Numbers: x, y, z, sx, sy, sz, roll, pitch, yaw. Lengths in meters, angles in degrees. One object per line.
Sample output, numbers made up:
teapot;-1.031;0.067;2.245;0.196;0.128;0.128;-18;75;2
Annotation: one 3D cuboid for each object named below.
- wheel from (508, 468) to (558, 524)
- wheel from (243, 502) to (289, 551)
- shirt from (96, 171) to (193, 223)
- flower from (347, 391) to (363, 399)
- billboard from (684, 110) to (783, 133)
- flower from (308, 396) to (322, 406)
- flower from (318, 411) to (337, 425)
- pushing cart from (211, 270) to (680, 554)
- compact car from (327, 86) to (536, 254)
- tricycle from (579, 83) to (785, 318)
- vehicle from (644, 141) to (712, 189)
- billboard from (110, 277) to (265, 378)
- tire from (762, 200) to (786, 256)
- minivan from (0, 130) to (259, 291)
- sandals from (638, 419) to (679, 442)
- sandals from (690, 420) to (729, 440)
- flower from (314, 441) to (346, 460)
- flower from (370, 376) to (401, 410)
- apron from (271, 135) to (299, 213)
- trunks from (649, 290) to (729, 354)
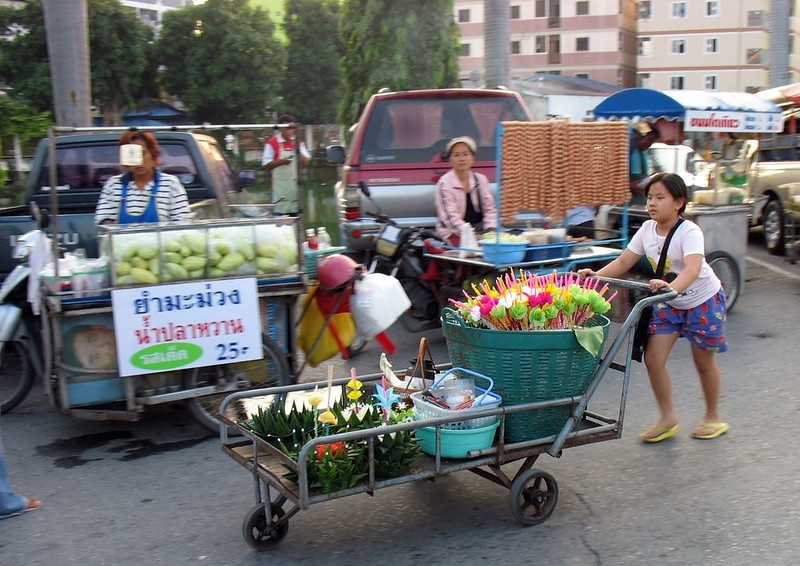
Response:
wheel;0.829;1.335;4.602;0.409;0.322;0.133;-7;16;-30
wheel;-0.802;1.434;4.456;0.262;0.316;0.194;-5;15;-9
shirt;-2.157;-0.699;6.277;0.826;0.509;0.348;0;18;-6
flower;-0.271;0.692;4.597;0.076;0.030;0.073;-2;0;-42
billboard;3.896;-1.876;8.626;1.589;0.279;0.377;-11;16;-37
flower;-0.514;0.725;4.549;0.075;0.036;0.066;-4;-5;-13
flower;-0.438;0.813;4.486;0.103;0.087;0.128;-6;14;-15
pushing cart;0.287;0.819;5.022;3.025;1.221;1.425;-4;11;-23
compact car;0.191;-1.444;8.855;1.912;1.190;2.547;-4;19;-7
tricycle;3.621;-1.592;9.374;2.230;1.546;1.210;-10;16;-38
vehicle;3.399;-1.426;8.929;1.051;0.440;0.561;-3;20;4
billboard;-1.573;0.311;5.530;1.353;0.658;0.028;-8;-8;24
tire;6.440;-1.014;13.012;0.275;0.689;0.833;14;26;39
minivan;-2.718;-0.853;7.731;1.704;0.955;2.234;1;13;11
sandals;1.972;1.131;5.662;0.334;0.079;0.107;-12;28;-12
sandals;2.367;1.125;5.694;0.294;0.063;0.114;-7;10;-30
flower;-0.397;0.947;4.173;0.173;0.068;0.182;1;5;-5
flower;-0.102;0.714;4.694;0.208;0.173;0.173;16;31;32
apron;-1.566;-1.477;10.192;0.495;1.122;0.087;-16;27;-42
trunks;2.240;0.268;5.670;0.336;0.426;0.582;-16;13;-40
